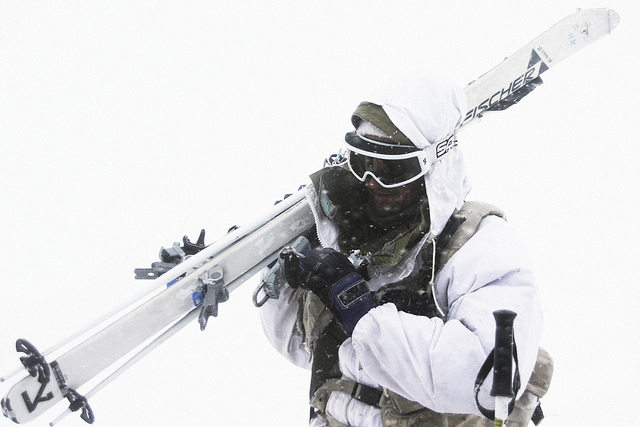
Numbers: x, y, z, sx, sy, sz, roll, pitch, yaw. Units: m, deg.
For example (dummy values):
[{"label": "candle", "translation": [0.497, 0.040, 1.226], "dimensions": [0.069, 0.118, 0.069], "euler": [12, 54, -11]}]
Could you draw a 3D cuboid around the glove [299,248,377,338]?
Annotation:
[{"label": "glove", "translation": [0.139, 0.508, 4.286], "dimensions": [0.408, 0.479, 0.336], "euler": [23, -75, -43]}]
